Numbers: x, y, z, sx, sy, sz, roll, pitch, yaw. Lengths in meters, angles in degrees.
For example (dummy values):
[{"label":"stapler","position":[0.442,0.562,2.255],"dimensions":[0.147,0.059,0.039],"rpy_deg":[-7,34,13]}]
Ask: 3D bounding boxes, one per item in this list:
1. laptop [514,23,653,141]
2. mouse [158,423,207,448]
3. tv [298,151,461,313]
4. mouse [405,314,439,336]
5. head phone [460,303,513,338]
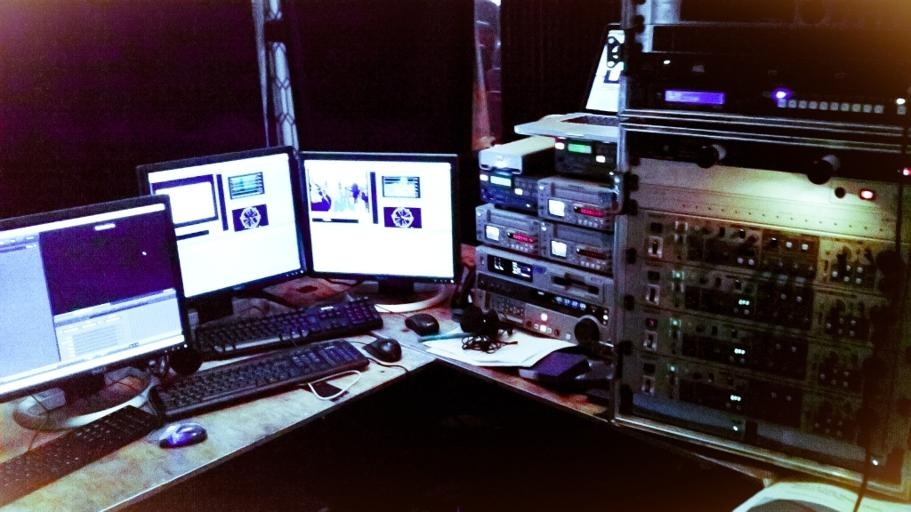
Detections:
[{"label":"laptop","position":[0.626,-0.690,2.756],"dimensions":[0.474,0.319,0.508],"rpy_deg":[19,33,39]},{"label":"mouse","position":[-0.959,0.621,2.320],"dimensions":[0.123,0.035,0.084],"rpy_deg":[-11,20,-35]},{"label":"tv","position":[-0.237,-0.128,3.162],"dimensions":[0.820,0.687,0.449],"rpy_deg":[3,9,24]},{"label":"mouse","position":[-0.144,0.291,2.862],"dimensions":[0.146,0.069,0.110],"rpy_deg":[-3,18,-5]},{"label":"head phone","position":[0.136,0.271,2.795],"dimensions":[0.170,0.126,0.168],"rpy_deg":[11,22,32]}]
